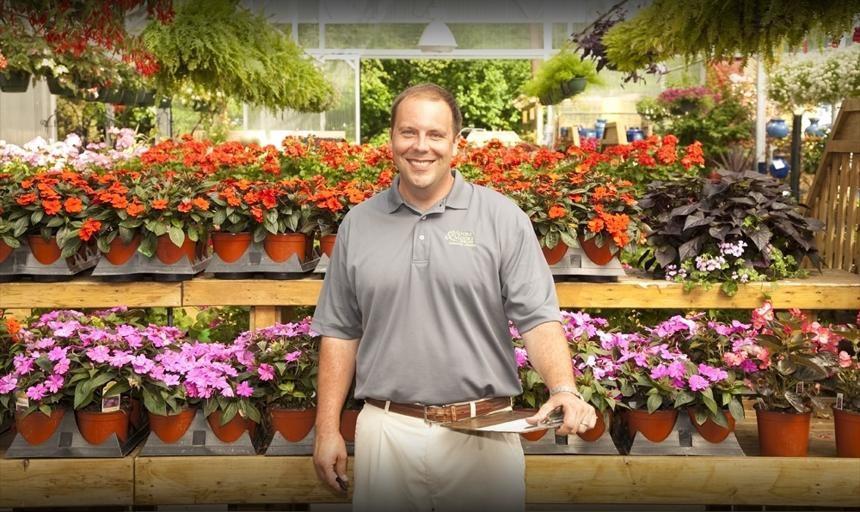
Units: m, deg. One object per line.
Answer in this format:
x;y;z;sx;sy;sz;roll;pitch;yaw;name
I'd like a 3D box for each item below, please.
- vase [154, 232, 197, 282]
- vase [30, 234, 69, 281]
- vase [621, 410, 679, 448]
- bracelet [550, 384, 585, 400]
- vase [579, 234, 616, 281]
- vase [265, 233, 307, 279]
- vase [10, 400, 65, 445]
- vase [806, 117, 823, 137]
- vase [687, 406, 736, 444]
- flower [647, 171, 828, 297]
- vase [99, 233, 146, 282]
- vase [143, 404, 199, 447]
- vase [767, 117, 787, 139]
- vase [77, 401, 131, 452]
-1.557;-0.014;4.376;0.272;0.190;0.240;-1;9;-13;vase
-2.260;-0.015;4.280;0.257;0.234;0.229;0;1;-3;vase
1.238;0.939;3.847;0.224;0.127;0.209;0;-5;1;vase
0.587;0.586;3.019;0.140;0.060;0.058;1;9;8;bracelet
1.067;0.028;4.390;0.244;0.236;0.254;0;3;35;vase
-0.955;-0.021;4.487;0.264;0.261;0.263;0;1;-18;vase
-2.124;0.915;3.854;0.246;0.159;0.232;1;3;9;vase
5.774;-1.944;10.559;0.201;0.272;0.550;4;10;27;vase
1.585;0.943;3.950;0.227;0.147;0.212;-1;2;-10;vase
1.975;-0.185;4.554;1.008;0.516;0.878;-1;18;-10;flower
-1.873;0.007;4.255;0.295;0.279;0.279;3;5;11;vase
-1.417;0.943;3.882;0.217;0.145;0.214;0;1;32;vase
5.485;-2.005;11.144;0.414;0.301;0.397;0;1;20;vase
-1.826;0.948;3.920;0.253;0.162;0.234;4;-6;-11;vase
